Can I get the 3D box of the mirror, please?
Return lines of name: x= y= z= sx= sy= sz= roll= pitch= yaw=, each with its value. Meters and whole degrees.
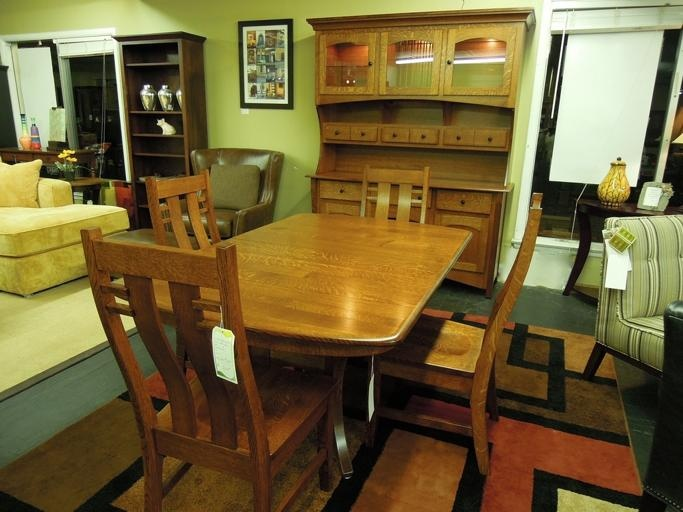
mirror: x=-3.737 y=-1.968 z=6.423 sx=0.780 sy=1.219 sz=0.176 roll=12 pitch=23 yaw=27

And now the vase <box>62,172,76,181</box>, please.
vase: x=-2.855 y=-0.842 z=5.471 sx=0.113 sy=0.082 sz=0.110 roll=4 pitch=7 yaw=43

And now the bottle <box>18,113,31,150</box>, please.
bottle: x=-3.886 y=-1.537 z=6.394 sx=0.136 sy=0.396 sz=0.660 roll=-10 pitch=22 yaw=-28

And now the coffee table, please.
coffee table: x=2.249 y=-0.083 z=4.293 sx=0.808 sy=0.864 sz=0.807 roll=7 pitch=19 yaw=29
